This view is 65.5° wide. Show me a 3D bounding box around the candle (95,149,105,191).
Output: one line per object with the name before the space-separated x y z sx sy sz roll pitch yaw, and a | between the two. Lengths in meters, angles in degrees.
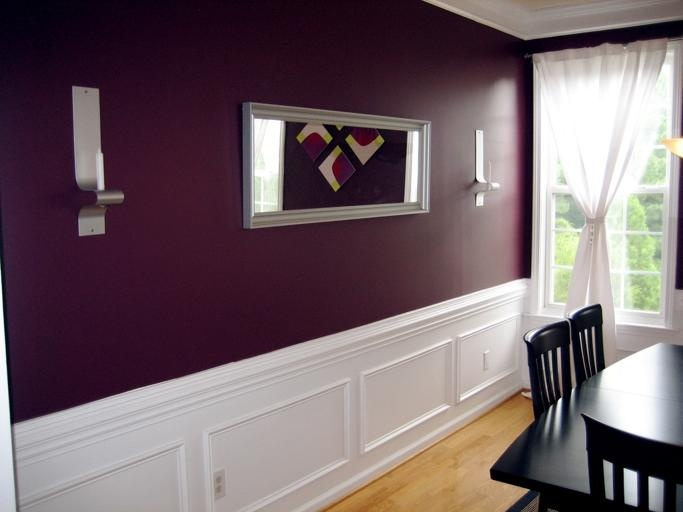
candle | -0.974 -0.342 2.134 0.043 0.166 0.198 -8 16 -23

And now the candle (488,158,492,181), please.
candle | 1.149 -0.660 4.115 0.019 0.158 0.063 6 16 30
